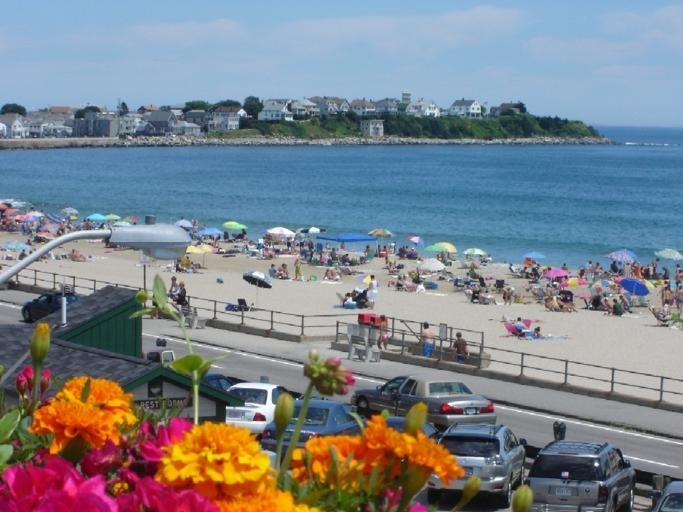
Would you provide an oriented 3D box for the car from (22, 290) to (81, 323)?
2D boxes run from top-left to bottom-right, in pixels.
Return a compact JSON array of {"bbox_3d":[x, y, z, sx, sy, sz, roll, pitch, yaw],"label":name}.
[{"bbox_3d":[-10.936,1.913,51.088,2.784,1.224,1.299,8,11,36],"label":"car"}]

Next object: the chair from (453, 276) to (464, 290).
[{"bbox_3d":[6.308,1.549,73.653,0.450,0.756,0.781,-3,7,-19],"label":"chair"}]
